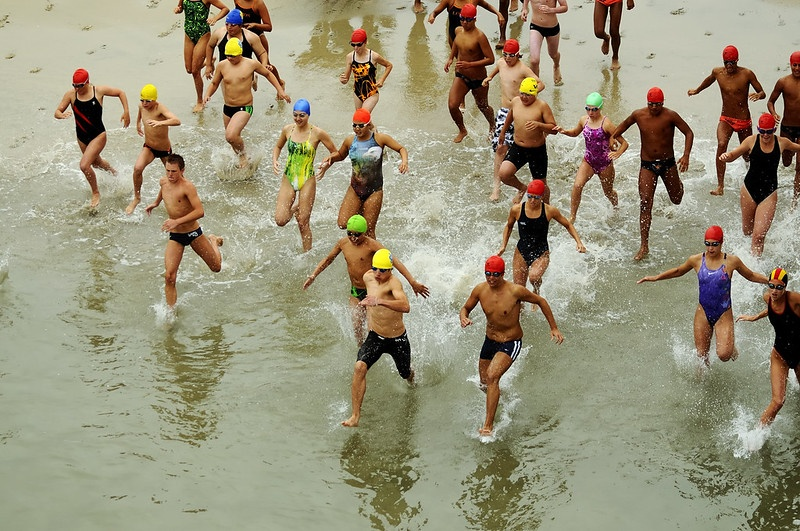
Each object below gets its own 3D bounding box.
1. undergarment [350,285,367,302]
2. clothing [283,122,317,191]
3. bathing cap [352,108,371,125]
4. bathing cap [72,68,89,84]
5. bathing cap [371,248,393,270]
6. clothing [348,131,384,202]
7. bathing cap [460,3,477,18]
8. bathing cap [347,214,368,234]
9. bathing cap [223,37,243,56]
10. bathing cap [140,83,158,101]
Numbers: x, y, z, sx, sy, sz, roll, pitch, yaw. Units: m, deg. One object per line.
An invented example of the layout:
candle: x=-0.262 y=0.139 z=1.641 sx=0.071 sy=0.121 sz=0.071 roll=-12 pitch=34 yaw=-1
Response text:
undergarment: x=-0.692 y=0.461 z=14.712 sx=0.231 sy=0.183 sz=0.229 roll=0 pitch=10 yaw=-1
clothing: x=-1.856 y=-1.893 z=16.500 sx=0.556 sy=0.988 sz=0.384 roll=-27 pitch=33 yaw=-35
bathing cap: x=-0.706 y=-2.631 z=15.830 sx=0.295 sy=0.234 sz=0.366 roll=-8 pitch=26 yaw=-3
bathing cap: x=-6.205 y=-3.675 z=17.426 sx=0.282 sy=0.235 sz=0.538 roll=-12 pitch=27 yaw=-11
bathing cap: x=-0.279 y=-0.081 z=13.931 sx=0.271 sy=0.270 sz=0.306 roll=0 pitch=27 yaw=11
clothing: x=-0.612 y=-1.743 z=16.084 sx=0.609 sy=1.119 sz=0.443 roll=-6 pitch=27 yaw=0
bathing cap: x=1.374 y=-5.117 z=18.326 sx=0.292 sy=0.313 sz=0.398 roll=5 pitch=44 yaw=6
bathing cap: x=-0.719 y=-0.686 z=14.631 sx=0.285 sy=0.248 sz=0.298 roll=4 pitch=18 yaw=1
bathing cap: x=-3.399 y=-4.491 z=18.414 sx=0.328 sy=0.348 sz=0.440 roll=5 pitch=27 yaw=0
bathing cap: x=-4.838 y=-3.335 z=17.325 sx=0.253 sy=0.271 sz=0.566 roll=-10 pitch=27 yaw=-8
